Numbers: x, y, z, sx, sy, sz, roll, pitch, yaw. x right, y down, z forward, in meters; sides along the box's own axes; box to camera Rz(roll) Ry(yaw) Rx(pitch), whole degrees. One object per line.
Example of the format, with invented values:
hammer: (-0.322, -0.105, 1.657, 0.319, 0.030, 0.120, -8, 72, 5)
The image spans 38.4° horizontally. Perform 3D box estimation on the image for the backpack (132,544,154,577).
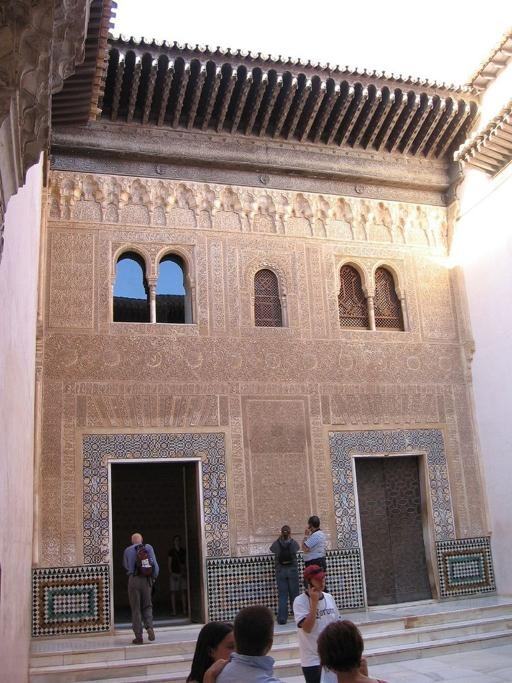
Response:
backpack: (-0.849, 1.636, 5.471, 0.156, 0.259, 0.145, 10, -32, -33)

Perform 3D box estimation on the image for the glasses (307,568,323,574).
glasses: (0.223, 0.885, 2.847, 0.041, 0.021, 0.029, -14, -2, -16)
